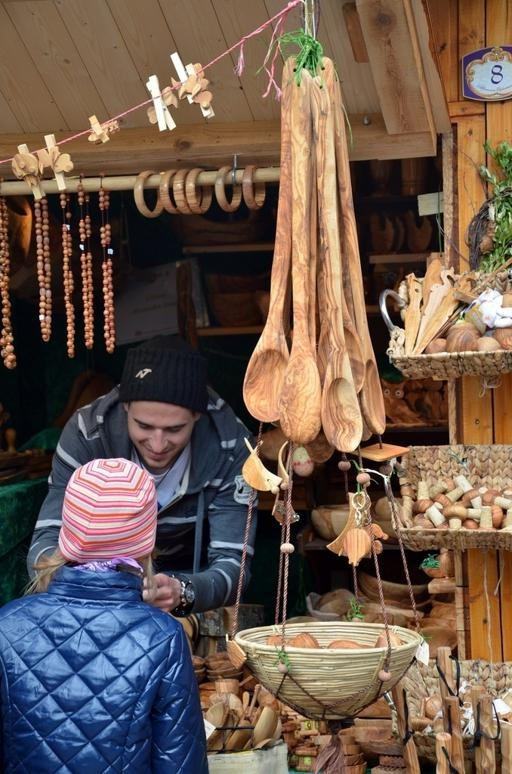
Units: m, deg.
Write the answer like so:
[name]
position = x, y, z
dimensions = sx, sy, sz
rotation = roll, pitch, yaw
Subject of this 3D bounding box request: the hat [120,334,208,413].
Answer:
[hat]
position = -0.282, -0.048, 2.328
dimensions = 0.283, 0.239, 0.296
rotation = 4, -13, -1

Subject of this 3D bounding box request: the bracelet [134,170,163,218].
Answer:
[bracelet]
position = -0.321, -0.554, 2.164
dimensions = 0.077, 0.164, 0.336
rotation = 0, -5, -9
